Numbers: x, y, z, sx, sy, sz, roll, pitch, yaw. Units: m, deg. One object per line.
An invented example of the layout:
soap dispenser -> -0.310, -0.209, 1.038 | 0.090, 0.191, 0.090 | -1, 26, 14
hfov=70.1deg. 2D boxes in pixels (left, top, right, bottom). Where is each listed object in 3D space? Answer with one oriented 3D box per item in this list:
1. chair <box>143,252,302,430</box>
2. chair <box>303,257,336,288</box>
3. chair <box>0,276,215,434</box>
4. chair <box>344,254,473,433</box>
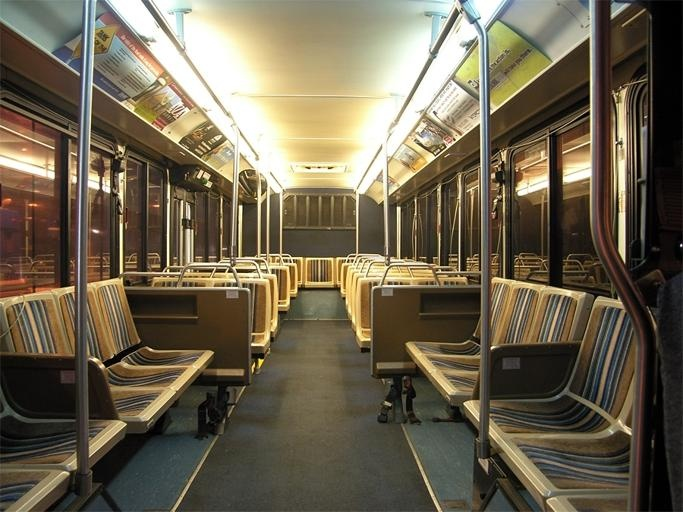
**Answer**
chair -> -1.049, 0.588, 4.543 | 0.902, 1.175, 1.648 | 1, 2, -2
chair -> -0.546, 0.432, 12.168 | 0.822, 0.843, 0.662 | 0, -5, -4
chair -> -1.472, 0.633, 3.109 | 0.498, 0.609, 1.198 | 0, 0, -5
chair -> 0.519, 0.765, 4.714 | 1.000, 1.445, 1.406 | 1, -3, -6
